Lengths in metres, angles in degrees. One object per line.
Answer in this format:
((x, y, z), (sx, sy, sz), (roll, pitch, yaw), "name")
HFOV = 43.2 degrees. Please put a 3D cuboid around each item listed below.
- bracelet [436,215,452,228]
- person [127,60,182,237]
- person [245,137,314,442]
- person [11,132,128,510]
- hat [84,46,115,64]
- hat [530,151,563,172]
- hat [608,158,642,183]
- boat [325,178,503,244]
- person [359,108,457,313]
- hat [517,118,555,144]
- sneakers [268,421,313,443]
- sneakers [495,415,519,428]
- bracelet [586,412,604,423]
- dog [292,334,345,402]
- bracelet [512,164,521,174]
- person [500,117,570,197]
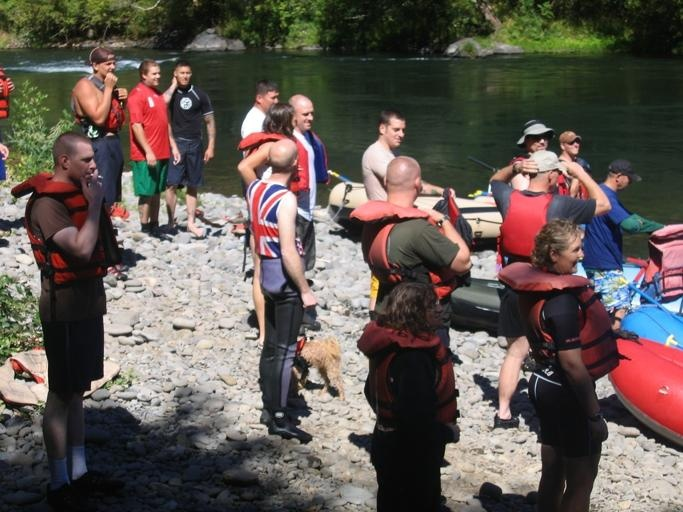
((0.935, -0.308, 7.835), (0.096, 0.027, 0.102), (-38, -4, 36), "bracelet")
((-2.567, -1.451, 11.805), (0.665, 2.443, 0.861), (-3, 11, -10), "person")
((-0.533, 0.328, 8.041), (0.507, 2.802, 0.656), (-4, 12, -15), "person")
((-2.255, 0.523, 7.043), (0.585, 3.020, 0.796), (3, 12, 15), "person")
((-2.977, -2.411, 10.437), (0.337, 0.187, 0.212), (-8, 29, 17), "hat")
((1.986, -0.922, 8.394), (0.284, 0.197, 0.218), (2, 11, 11), "hat")
((3.392, -1.010, 10.154), (0.392, 0.203, 0.251), (3, 16, -13), "hat")
((1.192, -0.795, 14.223), (2.186, 0.693, 1.272), (7, 16, 12), "boat")
((0.606, -0.456, 9.936), (0.965, 2.210, 0.879), (7, 20, 0), "person")
((2.243, -1.457, 9.926), (0.442, 0.215, 0.424), (-23, -1, 8), "hat")
((-0.472, 1.638, 8.120), (0.512, 0.196, 0.160), (8, 26, -2), "sneakers")
((1.724, 1.701, 8.790), (0.282, 0.105, 0.098), (-3, 7, -17), "sneakers")
((2.066, 1.310, 6.952), (0.078, 0.076, 0.078), (-11, -36, 44), "bracelet")
((-0.384, 1.121, 8.763), (0.926, 0.528, 0.258), (11, -13, -39), "dog")
((1.776, -0.883, 8.702), (0.079, 0.090, 0.035), (-5, -18, 34), "bracelet")
((2.255, -0.998, 10.058), (0.711, 1.125, 0.728), (7, 20, 12), "person")
